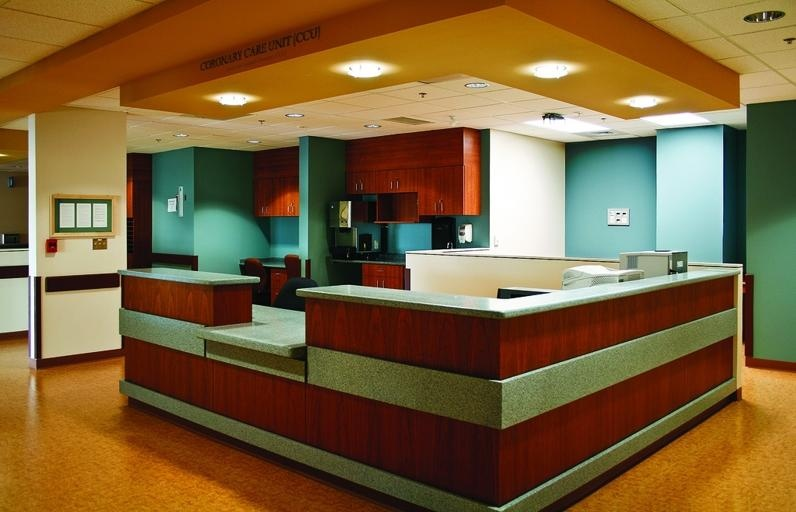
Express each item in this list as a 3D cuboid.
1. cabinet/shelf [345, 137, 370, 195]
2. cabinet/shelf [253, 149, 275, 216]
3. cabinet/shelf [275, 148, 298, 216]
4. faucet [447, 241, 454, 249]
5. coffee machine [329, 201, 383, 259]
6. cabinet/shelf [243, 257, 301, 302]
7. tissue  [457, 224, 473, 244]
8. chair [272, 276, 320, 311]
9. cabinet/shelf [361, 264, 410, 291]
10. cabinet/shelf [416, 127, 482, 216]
[{"bbox_3d":[-0.746,-1.767,10.423,0.423,1.068,0.614,-5,39,-7],"label":"cabinet/shelf"},{"bbox_3d":[-2.790,-1.493,11.456,0.251,1.296,0.777,-11,17,-41],"label":"cabinet/shelf"},{"bbox_3d":[-2.135,-1.468,10.954,0.305,1.332,0.676,-11,17,-40],"label":"cabinet/shelf"},{"bbox_3d":[0.869,-0.178,9.418,0.119,0.159,0.122,-2,11,-23],"label":"faucet"},{"bbox_3d":[-0.754,-0.539,10.444,0.989,0.957,0.931,-3,7,-10],"label":"coffee machine"},{"bbox_3d":[-1.975,0.366,8.739,0.941,0.532,0.500,7,8,34],"label":"cabinet/shelf"},{"bbox_3d":[1.131,-0.365,9.298,0.227,0.346,0.134,-1,13,-7],"label":"tissue "},{"bbox_3d":[-1.107,0.382,5.915,0.388,0.469,0.444,1,0,30],"label":"chair"},{"bbox_3d":[-0.242,0.329,9.478,0.922,0.440,0.173,11,16,39],"label":"cabinet/shelf"},{"bbox_3d":[0.950,-1.392,9.229,0.824,1.418,0.644,11,16,38],"label":"cabinet/shelf"}]
